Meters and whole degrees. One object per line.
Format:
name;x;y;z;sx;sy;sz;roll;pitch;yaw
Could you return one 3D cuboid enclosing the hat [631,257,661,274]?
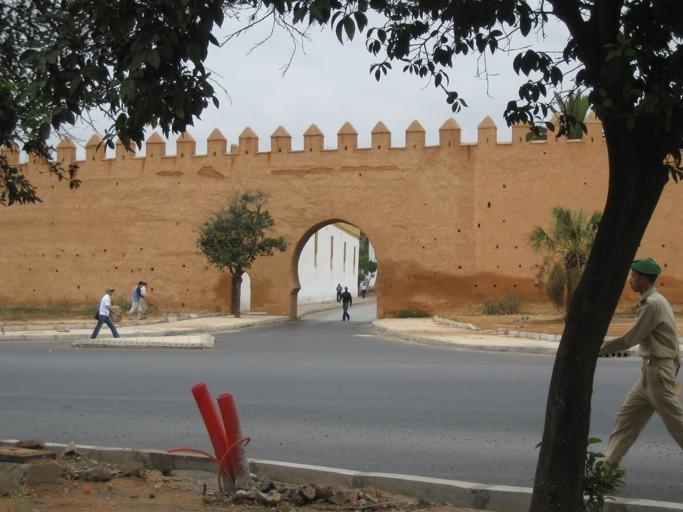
hat;3.380;0.127;11.433;0.280;0.106;0.308;0;5;-12
